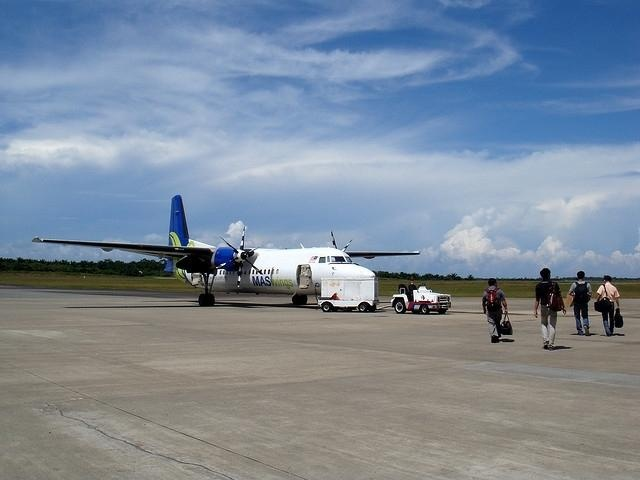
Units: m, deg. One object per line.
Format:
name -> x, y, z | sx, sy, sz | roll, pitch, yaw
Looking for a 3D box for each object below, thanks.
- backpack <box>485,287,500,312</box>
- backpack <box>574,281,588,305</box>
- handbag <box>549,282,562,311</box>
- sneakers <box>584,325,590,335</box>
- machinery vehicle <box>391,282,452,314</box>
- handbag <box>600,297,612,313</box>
backpack -> 4.853, 1.669, 16.919 | 0.388, 0.658, 0.331 | -1, -4, 14
backpack -> 8.101, 1.628, 18.718 | 0.467, 0.721, 0.486 | -1, -4, 17
handbag -> 6.041, 1.458, 15.498 | 0.303, 0.750, 0.456 | -2, -5, 30
sneakers -> 8.497, 2.850, 19.286 | 0.156, 0.396, 0.162 | -9, 32, 14
machinery vehicle -> 4.905, 2.779, 29.045 | 2.464, 1.126, 1.577 | -2, -2, 34
handbag -> 9.062, 2.027, 19.152 | 0.267, 0.438, 0.455 | -17, 18, -31
